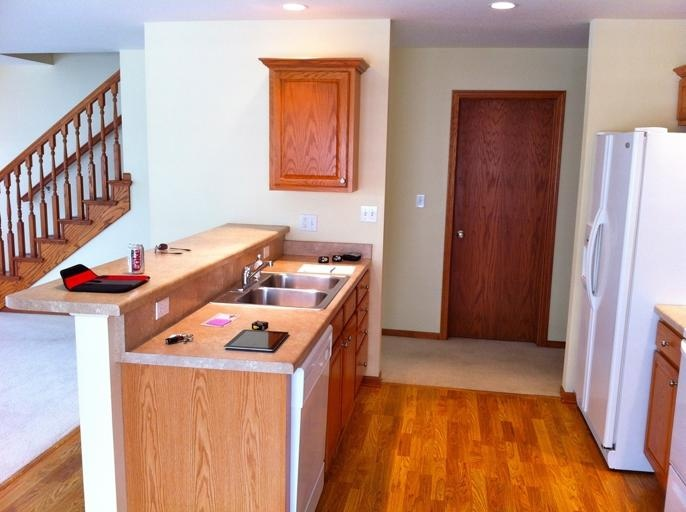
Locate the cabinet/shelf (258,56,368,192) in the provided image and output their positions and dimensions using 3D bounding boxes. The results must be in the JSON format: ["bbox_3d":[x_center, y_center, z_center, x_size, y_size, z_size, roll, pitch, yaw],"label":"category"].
[{"bbox_3d":[-0.193,-0.991,3.831,0.971,1.204,0.575,1,7,10],"label":"cabinet/shelf"}]

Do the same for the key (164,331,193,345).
[{"bbox_3d":[-0.782,0.382,2.507,0.126,0.027,0.139,-1,14,-7],"label":"key"}]

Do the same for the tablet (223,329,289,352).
[{"bbox_3d":[-0.403,0.390,2.465,0.269,0.036,0.222,2,14,5],"label":"tablet"}]

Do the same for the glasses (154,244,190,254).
[{"bbox_3d":[-1.040,-0.042,3.167,0.165,0.051,0.096,2,8,7],"label":"glasses"}]

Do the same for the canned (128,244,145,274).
[{"bbox_3d":[-1.065,0.008,2.683,0.077,0.138,0.123,-5,15,-22],"label":"canned"}]
